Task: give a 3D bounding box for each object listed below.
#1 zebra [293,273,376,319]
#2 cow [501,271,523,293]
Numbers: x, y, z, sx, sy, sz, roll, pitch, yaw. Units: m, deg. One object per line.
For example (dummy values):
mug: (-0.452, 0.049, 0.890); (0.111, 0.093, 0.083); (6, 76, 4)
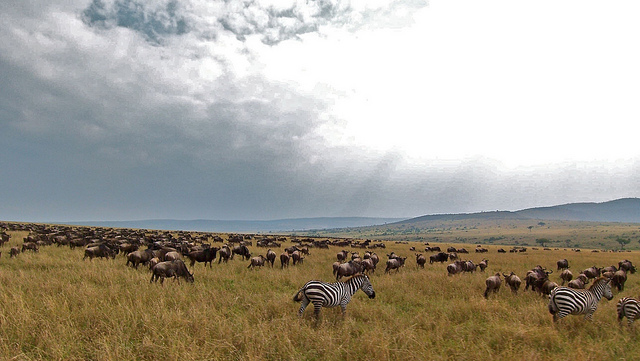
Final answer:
zebra: (1.059, 9.031, 34.282); (5.358, 3.045, 1.082); (1, -3, -21)
cow: (17.206, 9.093, 39.492); (0.986, 1.721, 2.021); (-1, -3, 12)
